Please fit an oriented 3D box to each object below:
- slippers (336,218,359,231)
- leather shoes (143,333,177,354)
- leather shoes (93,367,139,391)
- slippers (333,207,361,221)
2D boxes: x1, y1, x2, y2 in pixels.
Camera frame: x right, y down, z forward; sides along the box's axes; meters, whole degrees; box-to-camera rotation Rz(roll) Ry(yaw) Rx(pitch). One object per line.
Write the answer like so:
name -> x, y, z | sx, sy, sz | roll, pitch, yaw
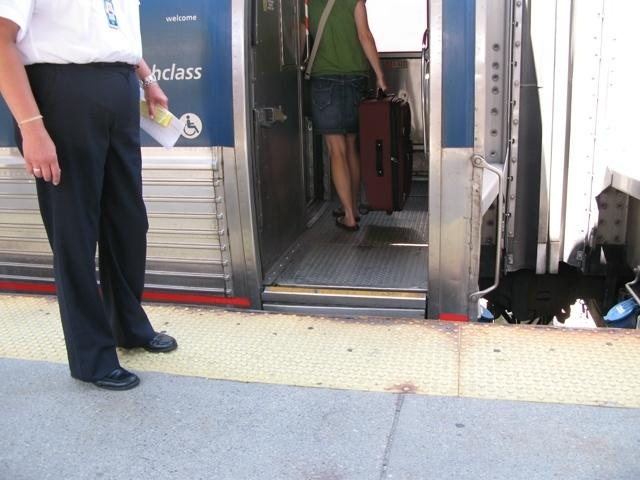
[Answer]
slippers -> 0.274, -0.153, 5.117 | 0.109, 0.073, 0.208 | -13, 19, -35
leather shoes -> -0.783, 0.509, 2.511 | 0.127, 0.049, 0.091 | 4, 23, 15
leather shoes -> -0.877, 0.617, 2.225 | 0.184, 0.085, 0.091 | -3, 18, -1
slippers -> 0.273, -0.291, 5.372 | 0.122, 0.135, 0.325 | -12, 21, -41
